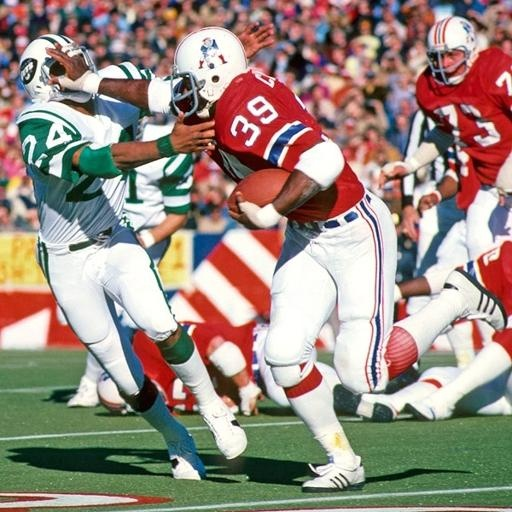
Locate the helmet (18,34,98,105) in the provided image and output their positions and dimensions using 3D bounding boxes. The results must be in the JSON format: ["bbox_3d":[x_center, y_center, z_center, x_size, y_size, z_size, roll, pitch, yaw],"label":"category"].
[{"bbox_3d":[-0.835,-0.784,3.306,0.304,0.260,0.255,-2,31,-17],"label":"helmet"}]

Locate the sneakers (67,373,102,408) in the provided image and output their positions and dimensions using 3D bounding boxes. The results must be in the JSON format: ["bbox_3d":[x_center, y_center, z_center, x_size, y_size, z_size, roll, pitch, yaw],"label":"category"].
[{"bbox_3d":[-1.096,0.869,4.972,0.197,0.235,0.150,2,31,-11],"label":"sneakers"}]

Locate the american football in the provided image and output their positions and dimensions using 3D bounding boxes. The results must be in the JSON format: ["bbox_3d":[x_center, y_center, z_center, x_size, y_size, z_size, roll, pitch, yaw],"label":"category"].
[{"bbox_3d":[0.017,-0.212,2.781,0.222,0.064,0.134,-24,48,-5],"label":"american football"}]

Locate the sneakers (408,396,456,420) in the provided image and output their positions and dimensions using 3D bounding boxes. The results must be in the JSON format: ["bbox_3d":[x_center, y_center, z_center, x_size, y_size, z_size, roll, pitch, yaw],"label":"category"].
[{"bbox_3d":[0.862,0.745,3.821,0.225,0.080,0.098,16,-11,-35],"label":"sneakers"}]

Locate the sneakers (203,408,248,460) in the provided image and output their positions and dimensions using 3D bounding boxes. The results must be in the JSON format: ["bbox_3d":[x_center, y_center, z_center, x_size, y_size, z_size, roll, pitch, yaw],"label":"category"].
[{"bbox_3d":[-0.139,0.671,3.094,0.104,0.101,0.281,-33,33,-1],"label":"sneakers"}]

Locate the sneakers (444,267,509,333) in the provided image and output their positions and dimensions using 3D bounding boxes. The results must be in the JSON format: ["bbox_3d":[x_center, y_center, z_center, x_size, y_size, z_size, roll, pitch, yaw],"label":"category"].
[{"bbox_3d":[1.057,0.218,3.819,0.458,0.169,0.157,35,-7,-17],"label":"sneakers"}]

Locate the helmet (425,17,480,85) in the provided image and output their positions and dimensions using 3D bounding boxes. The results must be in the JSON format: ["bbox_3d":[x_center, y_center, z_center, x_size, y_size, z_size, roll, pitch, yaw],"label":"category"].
[{"bbox_3d":[1.124,-1.167,4.461,0.251,0.342,0.292,-3,32,-19],"label":"helmet"}]

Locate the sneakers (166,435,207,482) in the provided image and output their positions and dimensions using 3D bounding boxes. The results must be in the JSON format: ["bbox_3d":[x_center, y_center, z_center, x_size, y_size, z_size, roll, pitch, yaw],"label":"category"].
[{"bbox_3d":[-0.269,0.817,3.075,0.084,0.082,0.218,-12,0,-12],"label":"sneakers"}]
